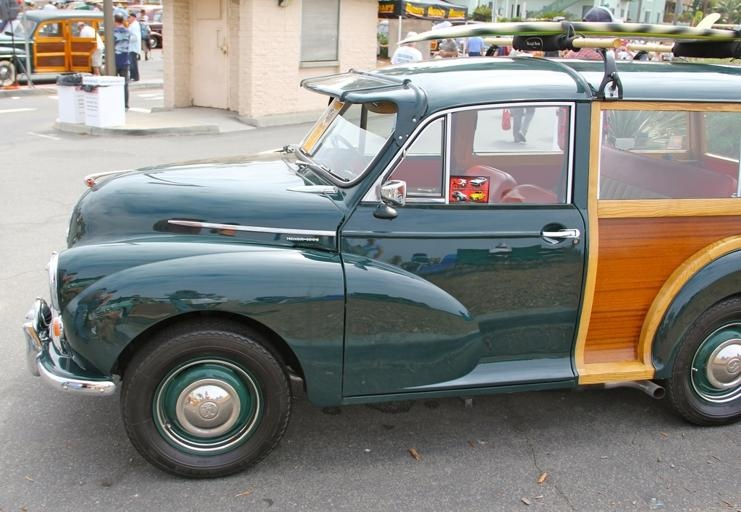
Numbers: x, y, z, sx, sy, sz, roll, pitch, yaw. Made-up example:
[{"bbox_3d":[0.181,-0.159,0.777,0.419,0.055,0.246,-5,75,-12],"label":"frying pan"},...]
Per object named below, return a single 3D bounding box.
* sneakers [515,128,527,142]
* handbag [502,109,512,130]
[{"bbox_3d":[1.113,-0.890,4.280,0.050,0.041,0.126,6,-17,26],"label":"sneakers"},{"bbox_3d":[0.947,-0.955,4.045,0.057,0.128,0.046,0,59,6],"label":"handbag"}]
